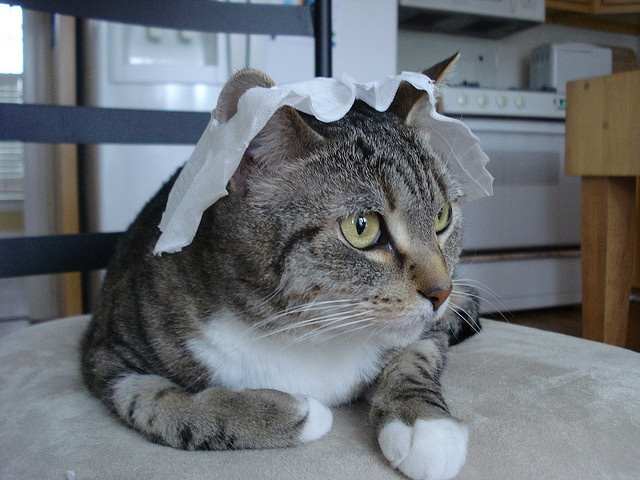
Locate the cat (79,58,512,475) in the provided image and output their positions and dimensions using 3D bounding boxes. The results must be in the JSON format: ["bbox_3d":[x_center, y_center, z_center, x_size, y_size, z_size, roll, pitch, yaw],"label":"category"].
[{"bbox_3d":[-0.100,0.091,1.502,0.821,0.683,0.831,-18,26,-37],"label":"cat"}]
